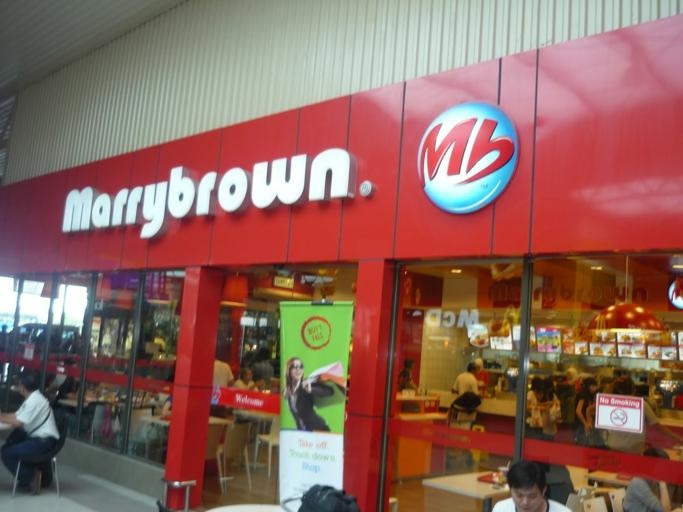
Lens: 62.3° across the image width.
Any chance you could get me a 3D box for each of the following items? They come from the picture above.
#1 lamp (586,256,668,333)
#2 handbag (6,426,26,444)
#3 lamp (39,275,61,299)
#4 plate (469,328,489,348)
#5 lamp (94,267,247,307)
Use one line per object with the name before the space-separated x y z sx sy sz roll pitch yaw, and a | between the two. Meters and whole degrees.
lamp | 2.407 0.318 4.753 0.476 0.605 0.546 4 -7 -25
handbag | -4.488 2.471 7.753 0.246 0.092 0.189 -16 3 9
lamp | -5.152 0.575 10.018 0.404 0.434 0.101 5 -4 43
plate | 1.314 0.779 5.437 0.209 0.196 0.013 -6 -12 37
lamp | -2.602 0.463 8.183 3.378 0.610 0.186 -6 -12 36
